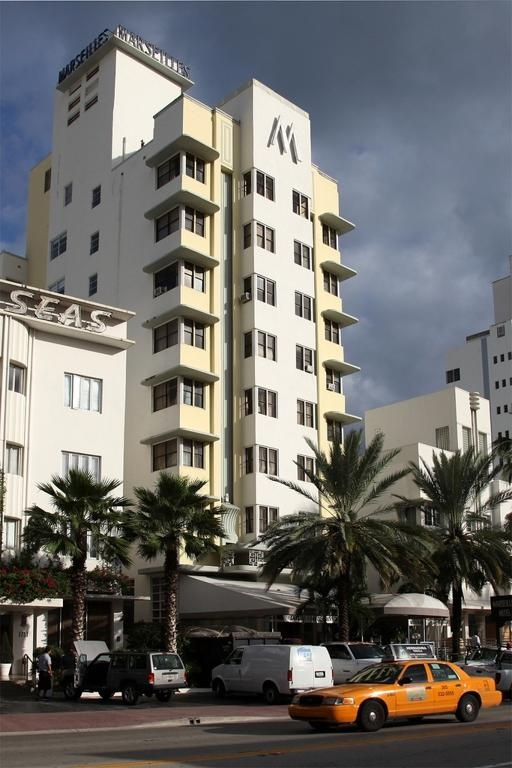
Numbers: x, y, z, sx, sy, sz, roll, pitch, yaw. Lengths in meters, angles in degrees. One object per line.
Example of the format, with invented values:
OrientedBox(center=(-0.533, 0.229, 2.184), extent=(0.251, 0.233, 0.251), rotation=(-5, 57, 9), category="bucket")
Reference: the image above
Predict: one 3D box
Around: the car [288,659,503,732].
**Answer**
OrientedBox(center=(2.880, 6.182, 18.782), extent=(3.998, 1.187, 1.717), rotation=(10, -20, -30), category="car")

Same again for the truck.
OrientedBox(center=(0.462, 8.490, 27.845), extent=(1.963, 1.409, 3.706), rotation=(16, -20, -35), category="truck")

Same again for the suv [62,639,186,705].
OrientedBox(center=(-4.181, 8.698, 27.943), extent=(1.832, 1.710, 4.303), rotation=(10, -18, -41), category="suv")

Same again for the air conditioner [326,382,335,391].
OrientedBox(center=(4.153, 0.138, 50.908), extent=(0.313, 0.625, 0.934), rotation=(-5, -14, 15), category="air conditioner")

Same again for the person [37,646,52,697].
OrientedBox(center=(-6.390, 8.722, 27.522), extent=(0.376, 1.295, 1.106), rotation=(2, -14, -14), category="person")

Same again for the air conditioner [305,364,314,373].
OrientedBox(center=(2.817, -0.805, 49.308), extent=(0.388, 0.457, 0.686), rotation=(-12, -14, 35), category="air conditioner")
